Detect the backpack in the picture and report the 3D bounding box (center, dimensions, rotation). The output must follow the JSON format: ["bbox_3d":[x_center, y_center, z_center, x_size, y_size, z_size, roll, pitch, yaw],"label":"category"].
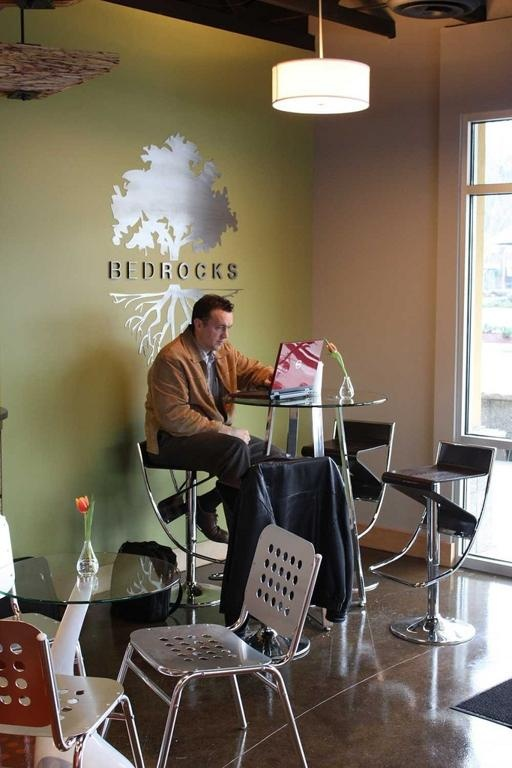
[{"bbox_3d":[-0.498,1.023,3.478,0.367,0.338,0.295,-11,-12,-9],"label":"backpack"}]

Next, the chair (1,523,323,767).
[{"bbox_3d":[-0.132,0.736,1.936,0.501,0.603,0.580,0,0,-19],"label":"chair"}]

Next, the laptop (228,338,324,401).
[{"bbox_3d":[0.085,-0.091,3.406,0.335,0.241,0.321,6,6,43],"label":"laptop"}]
